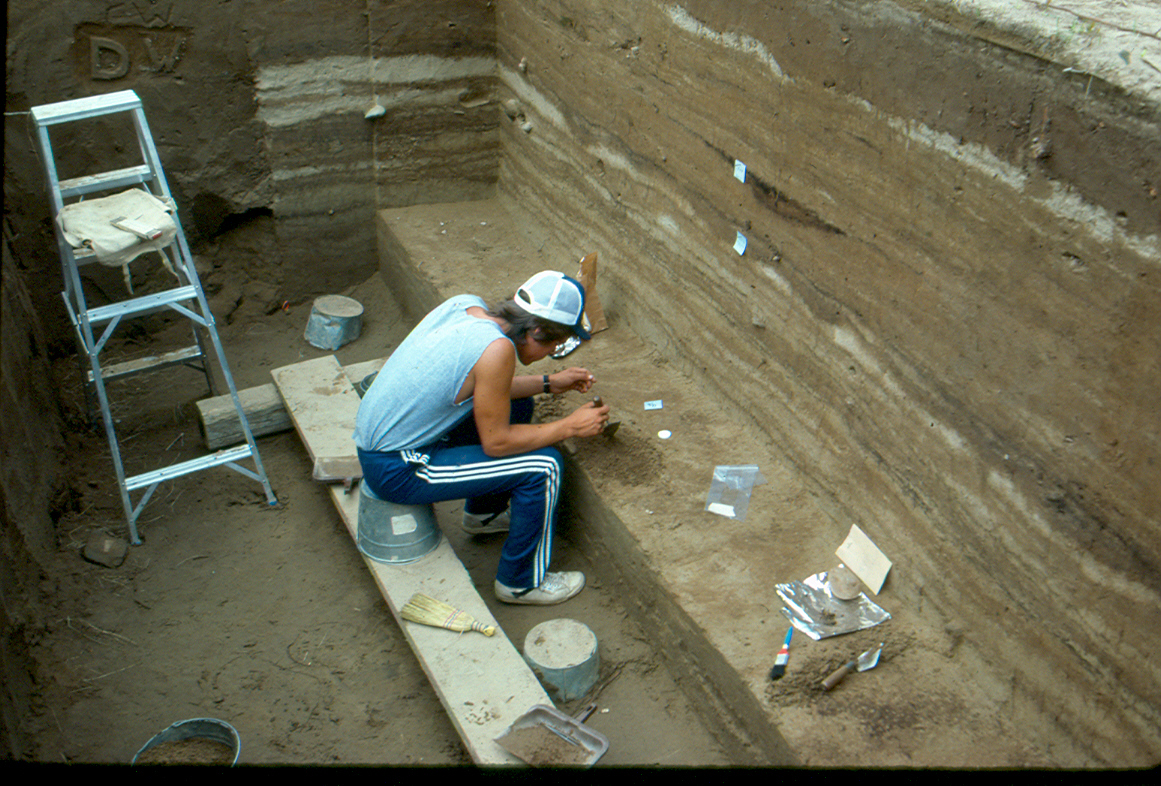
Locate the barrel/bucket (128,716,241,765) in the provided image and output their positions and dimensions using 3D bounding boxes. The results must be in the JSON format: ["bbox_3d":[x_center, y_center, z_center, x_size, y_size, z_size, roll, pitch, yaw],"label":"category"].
[{"bbox_3d":[-1.578,1.415,4.218,0.412,0.143,0.155,-3,16,-1],"label":"barrel/bucket"}]

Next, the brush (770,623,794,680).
[{"bbox_3d":[0.822,1.063,4.269,0.065,0.065,0.249,-30,21,48],"label":"brush"}]

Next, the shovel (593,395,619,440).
[{"bbox_3d":[0.117,0.121,4.851,0.122,0.191,0.035,-34,37,-17],"label":"shovel"}]

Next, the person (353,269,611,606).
[{"bbox_3d":[-0.406,0.271,4.728,1.180,1.398,0.802,-11,46,-15],"label":"person"}]

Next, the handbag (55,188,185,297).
[{"bbox_3d":[-2.151,-0.711,4.875,0.495,0.451,0.347,-10,18,-23],"label":"handbag"}]

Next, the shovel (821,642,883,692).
[{"bbox_3d":[1.095,1.102,4.209,0.282,0.045,0.123,-28,37,-24],"label":"shovel"}]

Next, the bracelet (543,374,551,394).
[{"bbox_3d":[-0.153,-0.044,4.875,0.048,0.069,0.066,1,23,-1],"label":"bracelet"}]

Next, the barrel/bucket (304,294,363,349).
[{"bbox_3d":[-1.454,-0.402,6.240,0.273,0.170,0.300,4,15,-1],"label":"barrel/bucket"}]
